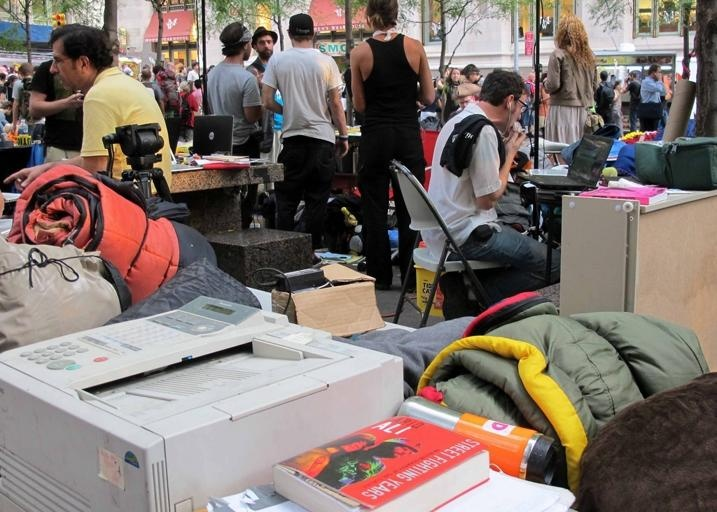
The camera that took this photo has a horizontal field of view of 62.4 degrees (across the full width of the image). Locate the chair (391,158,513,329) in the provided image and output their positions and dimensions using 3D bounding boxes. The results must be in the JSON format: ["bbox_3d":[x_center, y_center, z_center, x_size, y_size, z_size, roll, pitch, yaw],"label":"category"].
[{"bbox_3d":[0.697,-0.064,4.383,0.911,1.198,0.818,2,12,8],"label":"chair"}]

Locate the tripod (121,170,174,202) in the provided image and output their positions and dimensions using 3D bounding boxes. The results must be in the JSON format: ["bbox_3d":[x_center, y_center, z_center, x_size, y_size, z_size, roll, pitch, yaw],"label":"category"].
[{"bbox_3d":[-1.171,-0.415,3.256,0.185,0.178,0.194,-4,14,-1],"label":"tripod"}]

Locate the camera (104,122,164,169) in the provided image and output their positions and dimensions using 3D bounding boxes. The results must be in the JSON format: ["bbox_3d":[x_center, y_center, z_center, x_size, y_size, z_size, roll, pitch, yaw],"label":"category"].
[{"bbox_3d":[-1.202,-0.555,3.195,0.275,0.287,0.184,-11,14,-43],"label":"camera"}]

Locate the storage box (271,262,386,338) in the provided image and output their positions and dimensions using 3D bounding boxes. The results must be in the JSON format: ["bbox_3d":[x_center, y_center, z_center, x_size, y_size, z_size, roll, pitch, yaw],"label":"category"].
[{"bbox_3d":[-0.215,0.200,3.271,0.611,0.343,0.573,-9,21,-36],"label":"storage box"}]

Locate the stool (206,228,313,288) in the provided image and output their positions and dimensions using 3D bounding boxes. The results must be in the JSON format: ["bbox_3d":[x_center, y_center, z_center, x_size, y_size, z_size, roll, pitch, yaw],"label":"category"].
[{"bbox_3d":[-0.825,-0.081,4.617,0.527,0.332,0.524,-8,11,-37],"label":"stool"}]

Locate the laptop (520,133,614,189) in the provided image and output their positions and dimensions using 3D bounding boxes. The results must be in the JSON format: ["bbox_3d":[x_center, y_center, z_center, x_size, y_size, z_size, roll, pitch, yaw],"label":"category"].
[{"bbox_3d":[1.466,-0.657,4.092,0.520,0.329,0.789,0,12,9],"label":"laptop"}]
